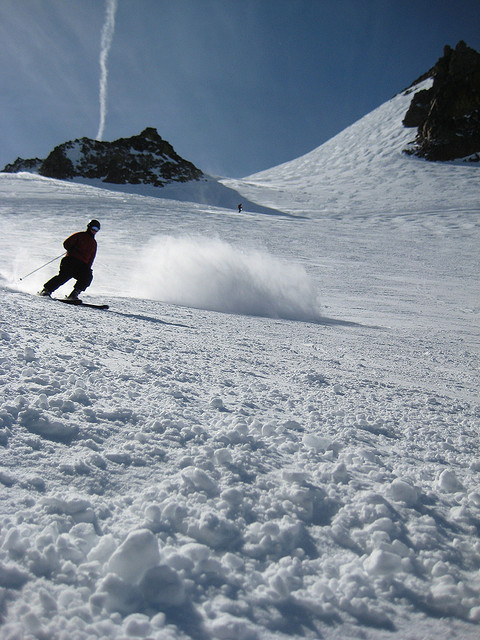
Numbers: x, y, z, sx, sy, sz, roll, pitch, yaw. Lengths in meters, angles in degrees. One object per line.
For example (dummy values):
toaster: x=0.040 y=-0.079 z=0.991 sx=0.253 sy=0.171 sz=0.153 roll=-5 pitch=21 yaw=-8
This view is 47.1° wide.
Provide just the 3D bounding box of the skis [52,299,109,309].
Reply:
skis: x=-1.934 y=-0.232 z=6.672 sx=0.688 sy=0.106 sz=0.190 roll=8 pitch=14 yaw=23

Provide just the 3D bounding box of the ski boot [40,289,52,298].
ski boot: x=-2.415 y=-0.336 z=6.776 sx=0.137 sy=0.080 sz=0.136 roll=-8 pitch=-21 yaw=-8

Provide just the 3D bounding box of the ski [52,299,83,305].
ski: x=-2.071 y=-0.217 z=6.616 sx=0.305 sy=0.042 sz=0.304 roll=5 pitch=8 yaw=-18

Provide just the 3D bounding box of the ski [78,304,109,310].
ski: x=-1.806 y=-0.165 z=6.723 sx=0.359 sy=0.067 sz=0.100 roll=4 pitch=14 yaw=-28

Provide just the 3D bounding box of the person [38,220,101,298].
person: x=-2.208 y=-0.792 z=7.189 sx=0.468 sy=1.089 sz=0.855 roll=9 pitch=8 yaw=-2
